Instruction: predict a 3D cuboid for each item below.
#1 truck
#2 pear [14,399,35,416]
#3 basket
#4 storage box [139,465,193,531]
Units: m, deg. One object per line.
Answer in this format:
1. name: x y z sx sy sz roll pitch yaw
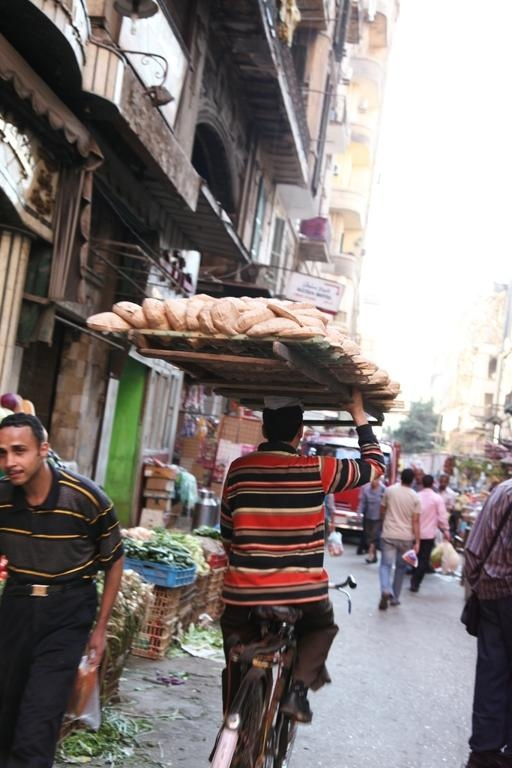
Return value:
1. truck: 3.065 3.182 20.369 2.670 3.662 7.267 -1 -12 10
2. pear: -1.732 0.180 4.501 0.129 0.123 0.384 18 -6 -12
3. basket: -0.785 2.104 5.782 0.765 0.451 1.408 1 -4 9
4. storage box: -1.874 2.336 12.222 0.821 1.286 1.433 3 -4 21
